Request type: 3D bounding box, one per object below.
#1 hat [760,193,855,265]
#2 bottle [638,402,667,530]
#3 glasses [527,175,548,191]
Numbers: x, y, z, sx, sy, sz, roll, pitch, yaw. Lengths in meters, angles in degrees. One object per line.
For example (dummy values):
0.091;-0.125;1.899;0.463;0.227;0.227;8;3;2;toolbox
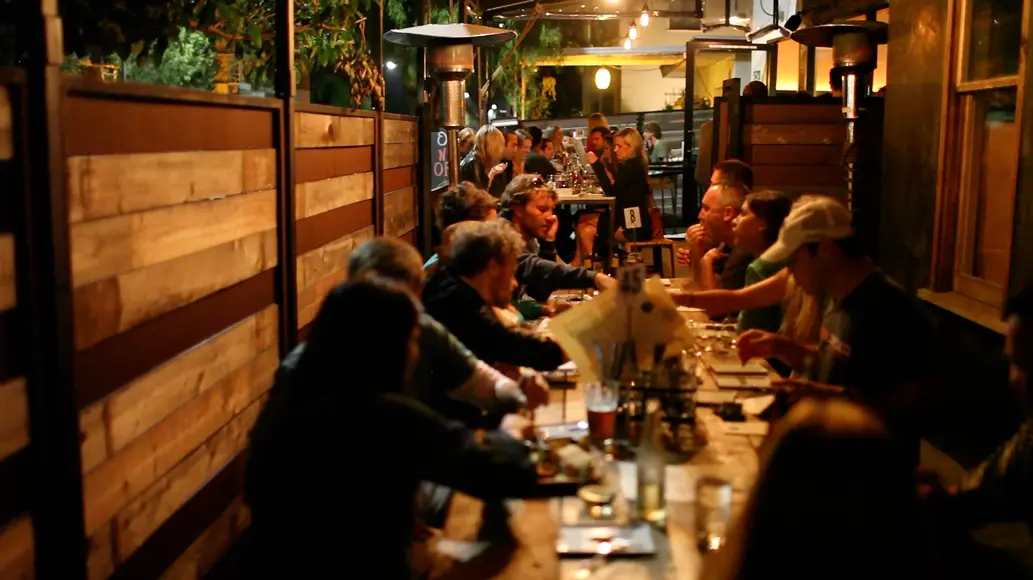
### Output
1.517;-0.326;3.940;0.453;0.228;0.283;-10;12;6;hat
0.551;0.643;3.085;0.123;0.500;0.289;3;16;9;bottle
0.159;-0.826;5.871;0.138;0.059;0.176;2;14;0;glasses
